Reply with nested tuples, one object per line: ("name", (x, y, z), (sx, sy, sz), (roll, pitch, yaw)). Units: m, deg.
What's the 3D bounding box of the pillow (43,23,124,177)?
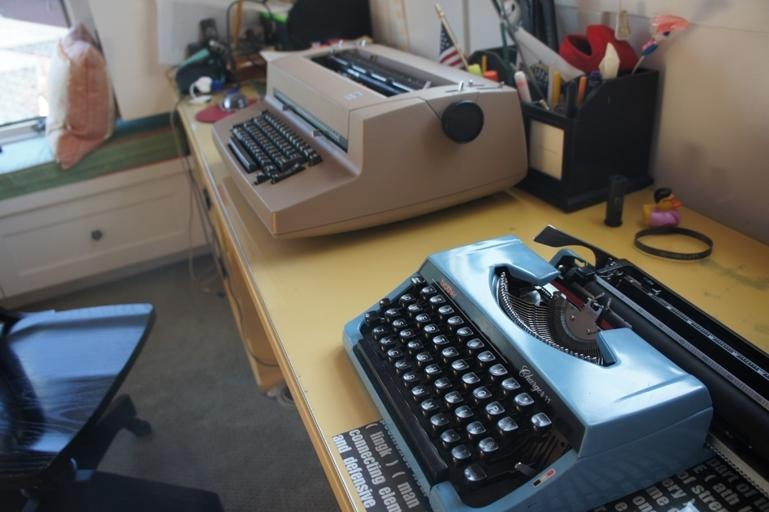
("pillow", (-1.609, -0.881, 2.965), (0.357, 0.538, 0.768), (-9, 33, -31))
